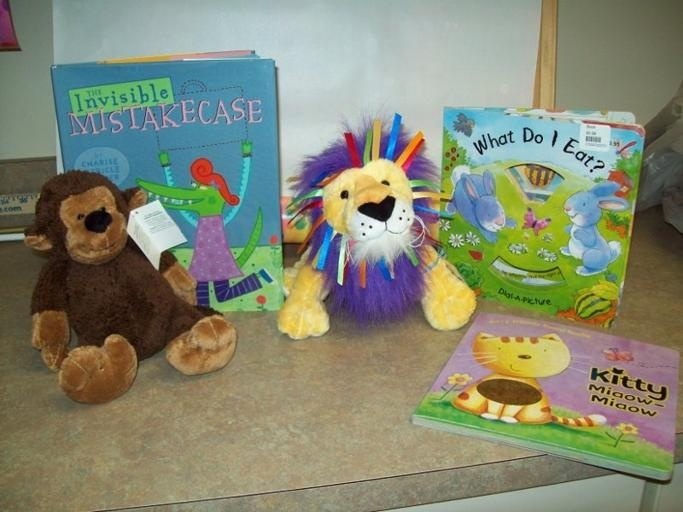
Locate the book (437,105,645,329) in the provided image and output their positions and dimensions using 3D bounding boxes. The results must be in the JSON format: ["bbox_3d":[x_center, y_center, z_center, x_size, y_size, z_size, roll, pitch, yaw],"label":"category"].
[{"bbox_3d":[0.322,-0.061,0.936,0.329,0.317,0.115,10,21,24],"label":"book"}]

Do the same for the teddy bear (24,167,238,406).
[{"bbox_3d":[-0.332,0.031,0.855,0.279,0.301,0.246,-17,28,-31],"label":"teddy bear"}]

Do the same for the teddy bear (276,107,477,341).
[{"bbox_3d":[0.060,-0.046,0.923,0.334,0.346,0.145,-2,24,-7],"label":"teddy bear"}]

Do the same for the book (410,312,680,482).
[{"bbox_3d":[0.305,0.185,0.826,0.352,0.055,0.256,8,24,16],"label":"book"}]
